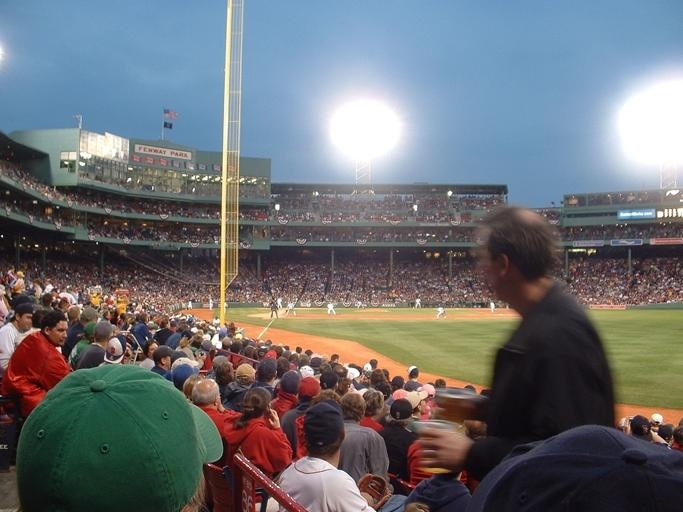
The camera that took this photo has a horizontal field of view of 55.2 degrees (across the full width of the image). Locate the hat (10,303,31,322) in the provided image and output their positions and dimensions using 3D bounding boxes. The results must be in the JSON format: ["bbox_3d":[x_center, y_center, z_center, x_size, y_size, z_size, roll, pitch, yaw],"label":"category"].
[{"bbox_3d":[-4.108,0.712,8.419,0.218,0.219,0.335,3,-5,-27],"label":"hat"}]

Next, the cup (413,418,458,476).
[{"bbox_3d":[0.557,1.163,4.065,0.362,0.279,0.355,0,-16,0],"label":"cup"}]
